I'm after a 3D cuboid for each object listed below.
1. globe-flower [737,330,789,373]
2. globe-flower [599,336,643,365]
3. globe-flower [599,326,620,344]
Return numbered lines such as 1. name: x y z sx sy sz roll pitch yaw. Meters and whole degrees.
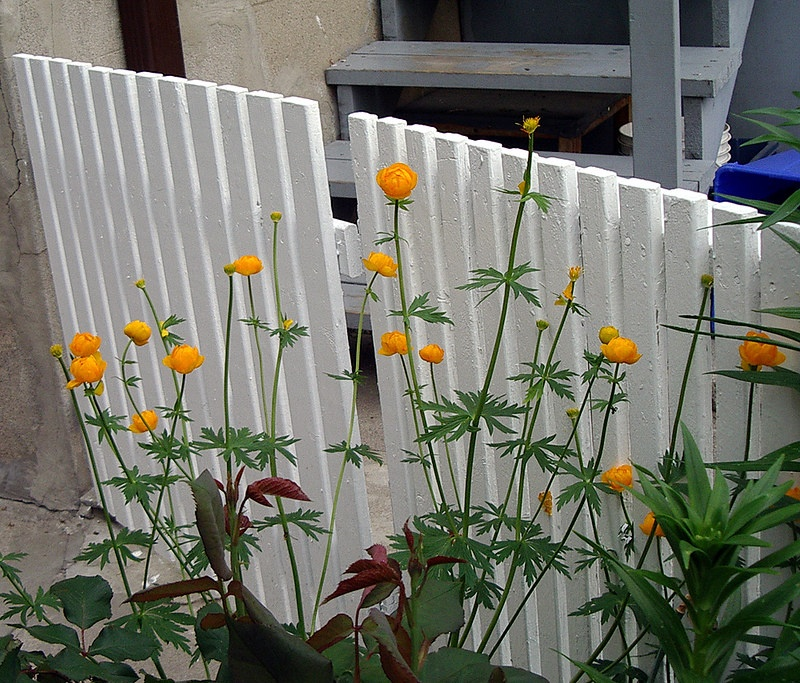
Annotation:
1. globe-flower: 0.710 0.018 2.007 0.081 0.100 0.095 15 18 33
2. globe-flower: 0.431 0.024 1.955 0.060 0.045 0.057 5 -7 34
3. globe-flower: 0.407 -0.015 1.955 0.030 0.037 0.035 -8 14 43
